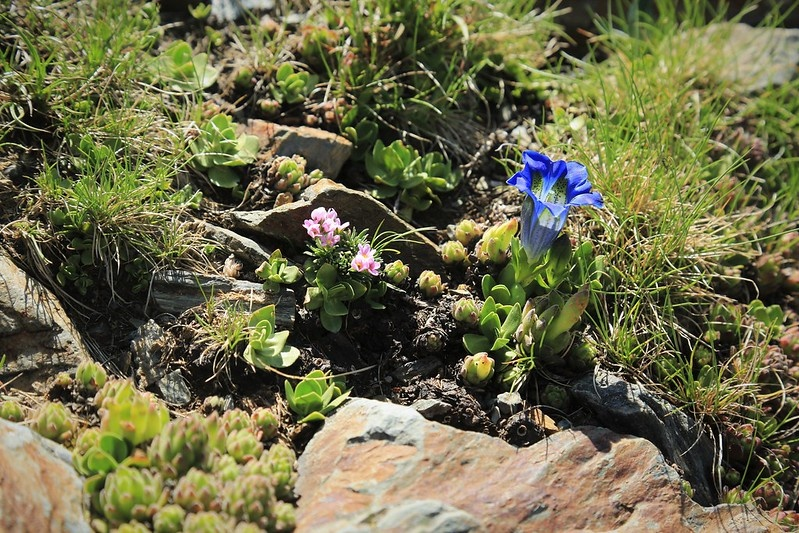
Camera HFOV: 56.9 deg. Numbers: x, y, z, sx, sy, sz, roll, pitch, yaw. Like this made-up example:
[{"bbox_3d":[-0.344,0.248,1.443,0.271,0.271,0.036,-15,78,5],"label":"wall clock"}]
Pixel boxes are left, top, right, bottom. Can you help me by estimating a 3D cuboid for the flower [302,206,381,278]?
[{"bbox_3d":[-0.430,-0.139,5.388,0.509,0.291,0.518,33,15,-25],"label":"flower"}]
